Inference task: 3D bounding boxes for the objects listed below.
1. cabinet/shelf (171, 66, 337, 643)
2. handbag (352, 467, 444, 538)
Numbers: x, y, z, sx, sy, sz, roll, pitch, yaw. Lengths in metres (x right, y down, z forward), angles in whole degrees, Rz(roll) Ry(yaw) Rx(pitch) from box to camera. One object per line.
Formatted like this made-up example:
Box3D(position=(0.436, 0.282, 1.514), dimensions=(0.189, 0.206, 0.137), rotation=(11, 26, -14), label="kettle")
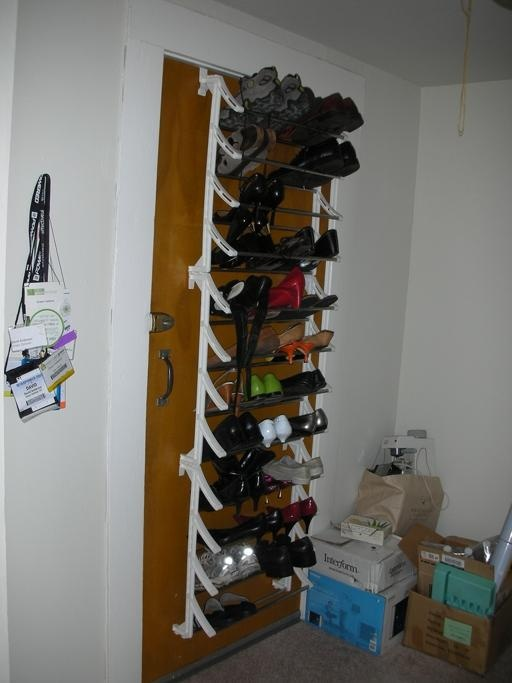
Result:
Box3D(position=(-0.101, 0.130, 2.040), dimensions=(0.315, 2.138, 0.401), rotation=(10, 10, 39), label="cabinet/shelf")
Box3D(position=(0.687, 0.846, 2.778), dimensions=(0.442, 0.301, 0.280), rotation=(14, -8, -34), label="handbag")
